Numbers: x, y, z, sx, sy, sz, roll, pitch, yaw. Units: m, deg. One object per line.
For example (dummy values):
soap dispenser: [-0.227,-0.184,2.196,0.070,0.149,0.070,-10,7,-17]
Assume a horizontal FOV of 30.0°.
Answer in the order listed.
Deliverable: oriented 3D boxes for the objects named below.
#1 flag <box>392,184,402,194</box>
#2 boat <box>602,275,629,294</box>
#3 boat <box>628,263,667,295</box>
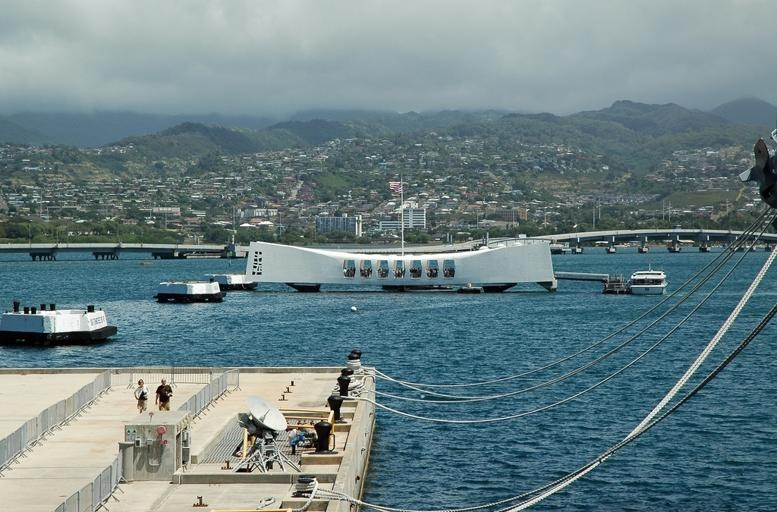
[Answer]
flag: [0.895,-8.819,189.324,1.202,1.459,3.019,-1,3,0]
boat: [29.176,3.813,186.814,2.310,1.756,2.952,2,8,12]
boat: [32.881,3.385,184.265,4.452,2.838,3.847,-1,3,2]
